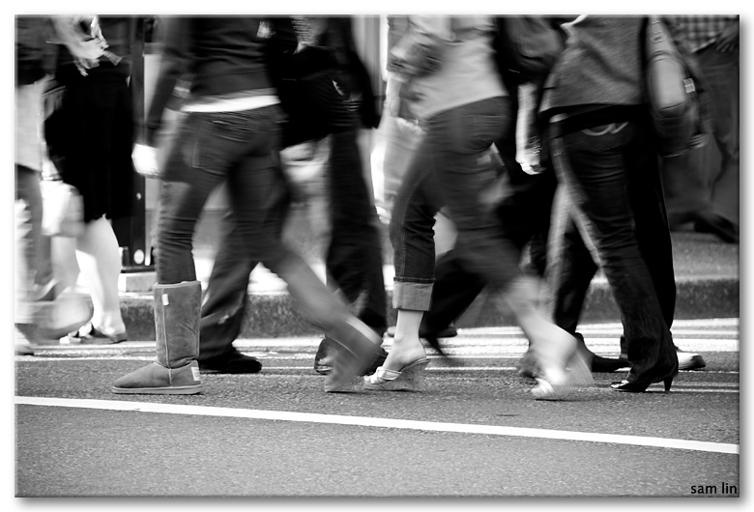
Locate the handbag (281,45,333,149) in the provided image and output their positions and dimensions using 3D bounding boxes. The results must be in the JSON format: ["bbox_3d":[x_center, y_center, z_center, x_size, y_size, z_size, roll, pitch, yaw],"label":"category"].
[{"bbox_3d":[-0.386,-0.820,4.591,0.208,0.427,0.351,0,1,-32],"label":"handbag"}]

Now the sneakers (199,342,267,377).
[{"bbox_3d":[-0.774,0.572,4.766,0.355,0.130,0.128,-1,2,-12],"label":"sneakers"}]

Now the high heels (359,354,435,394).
[{"bbox_3d":[0.110,0.580,4.324,0.384,0.118,0.137,0,-3,4],"label":"high heels"}]
